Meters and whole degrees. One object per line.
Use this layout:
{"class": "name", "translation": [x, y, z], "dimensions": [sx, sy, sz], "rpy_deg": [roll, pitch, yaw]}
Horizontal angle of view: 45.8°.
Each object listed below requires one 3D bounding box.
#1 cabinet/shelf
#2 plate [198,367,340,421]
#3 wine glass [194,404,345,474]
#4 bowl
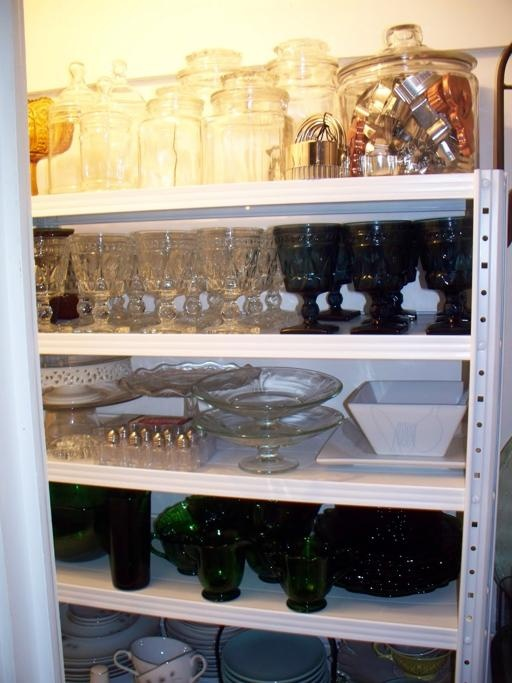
{"class": "cabinet/shelf", "translation": [0.024, 0.172, 1.109], "dimensions": [0.824, 0.887, 0.437], "rpy_deg": [-2, 9, 21]}
{"class": "plate", "translation": [0.019, 0.094, 1.033], "dimensions": [0.243, 0.042, 0.236], "rpy_deg": [2, 14, 22]}
{"class": "wine glass", "translation": [0.019, 0.165, 1.006], "dimensions": [0.242, 0.077, 0.235], "rpy_deg": [1, 6, 26]}
{"class": "bowl", "translation": [0.249, 0.120, 0.984], "dimensions": [0.178, 0.086, 0.221], "rpy_deg": [-2, 8, 18]}
